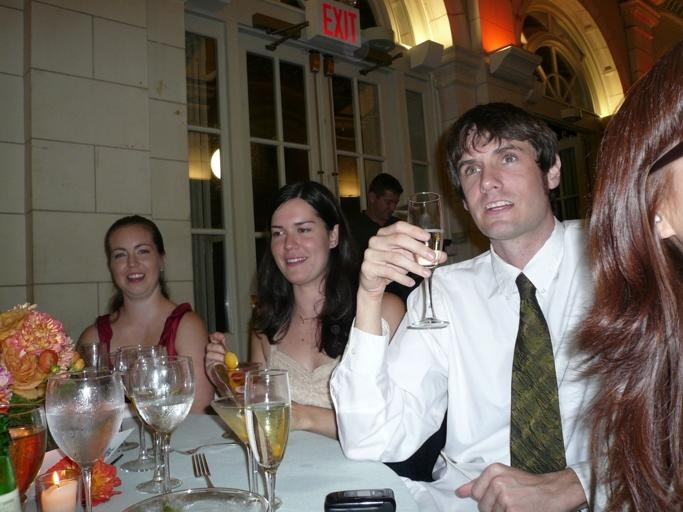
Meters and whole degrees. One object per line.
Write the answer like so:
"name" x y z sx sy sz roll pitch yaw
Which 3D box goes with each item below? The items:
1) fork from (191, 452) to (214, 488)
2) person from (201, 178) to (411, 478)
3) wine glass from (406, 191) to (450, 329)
"fork" -0.362 0.546 1.409 0.040 0.029 0.240 -3 5 -19
"person" -0.102 0.336 2.644 1.004 1.595 0.832 -3 -10 17
"wine glass" 0.268 0.025 1.718 0.127 0.417 0.375 -5 -4 10
